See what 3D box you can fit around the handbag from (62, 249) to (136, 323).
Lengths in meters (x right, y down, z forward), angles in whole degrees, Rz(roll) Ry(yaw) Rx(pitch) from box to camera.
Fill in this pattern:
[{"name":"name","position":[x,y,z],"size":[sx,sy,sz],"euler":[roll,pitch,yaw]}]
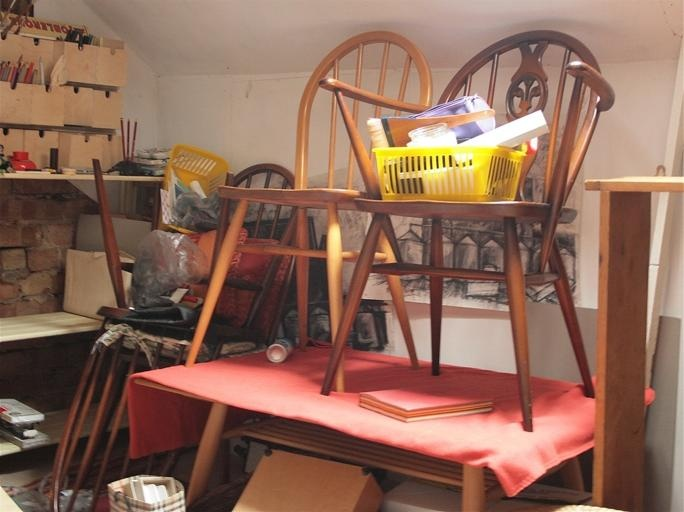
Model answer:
[{"name":"handbag","position":[-1.076,0.134,2.566],"size":[0.358,0.276,0.133],"euler":[-2,-4,37]}]

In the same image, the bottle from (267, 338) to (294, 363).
[{"name":"bottle","position":[-0.212,0.333,1.991],"size":[0.075,0.063,0.102],"euler":[14,18,10]}]

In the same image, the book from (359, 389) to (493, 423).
[{"name":"book","position":[0.226,0.385,1.529],"size":[0.342,0.036,0.168],"euler":[2,2,-22]}]

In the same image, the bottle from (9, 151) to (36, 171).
[{"name":"bottle","position":[-1.381,-0.404,2.492],"size":[0.106,0.062,0.099],"euler":[0,0,0]}]

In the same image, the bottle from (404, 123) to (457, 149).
[{"name":"bottle","position":[0.231,-0.307,1.487],"size":[0.091,0.050,0.085],"euler":[-2,0,0]}]

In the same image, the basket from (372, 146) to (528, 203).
[{"name":"basket","position":[0.257,-0.178,1.486],"size":[0.271,0.082,0.199],"euler":[0,0,22]}]

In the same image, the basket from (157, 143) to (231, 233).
[{"name":"basket","position":[-0.708,-0.375,2.734],"size":[0.382,0.461,0.165],"euler":[12,-13,-24]}]
